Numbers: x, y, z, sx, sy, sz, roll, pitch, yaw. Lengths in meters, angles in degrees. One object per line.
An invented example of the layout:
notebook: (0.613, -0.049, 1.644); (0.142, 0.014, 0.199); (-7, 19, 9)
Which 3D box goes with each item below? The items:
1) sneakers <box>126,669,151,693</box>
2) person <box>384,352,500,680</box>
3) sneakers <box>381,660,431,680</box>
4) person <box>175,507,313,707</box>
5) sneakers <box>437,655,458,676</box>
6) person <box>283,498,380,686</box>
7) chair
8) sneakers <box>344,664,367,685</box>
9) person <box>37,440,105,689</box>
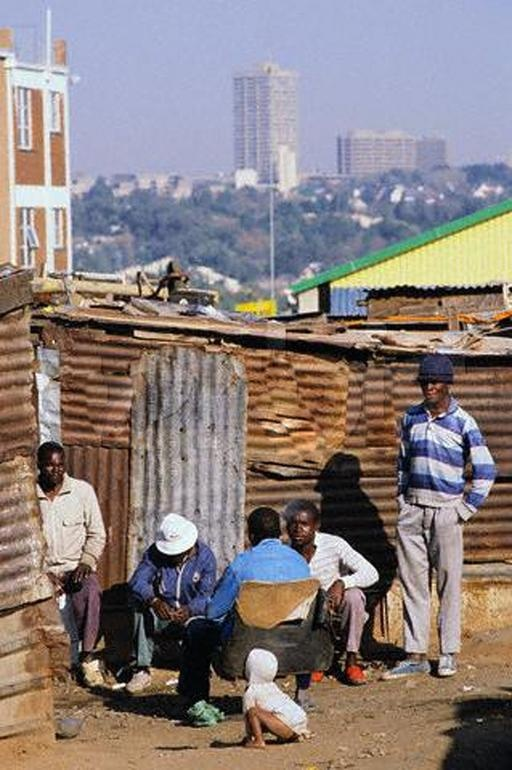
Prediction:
sneakers: (-0.769, 1.978, 12.766); (0.161, 0.146, 0.244); (-1, 8, -4)
person: (1.253, 0.864, 12.820); (0.692, 2.142, 0.635); (1, 8, 9)
sneakers: (1.026, 1.893, 12.841); (0.356, 0.169, 0.131); (-2, -1, -12)
person: (-0.099, 1.395, 12.066); (0.661, 1.333, 0.776); (5, 4, -11)
sneakers: (1.284, 1.874, 12.704); (0.099, 0.139, 0.303); (-1, -5, 6)
person: (0.411, 1.368, 12.823); (0.726, 1.224, 0.710); (-13, 10, -14)
chair: (0.150, 1.444, 11.695); (0.683, 0.715, 0.415); (0, 16, -3)
sneakers: (0.679, 1.944, 12.809); (0.071, 0.079, 0.197); (0, 1, -11)
person: (-1.233, 1.199, 12.990); (0.443, 1.624, 0.578); (-2, 8, -6)
